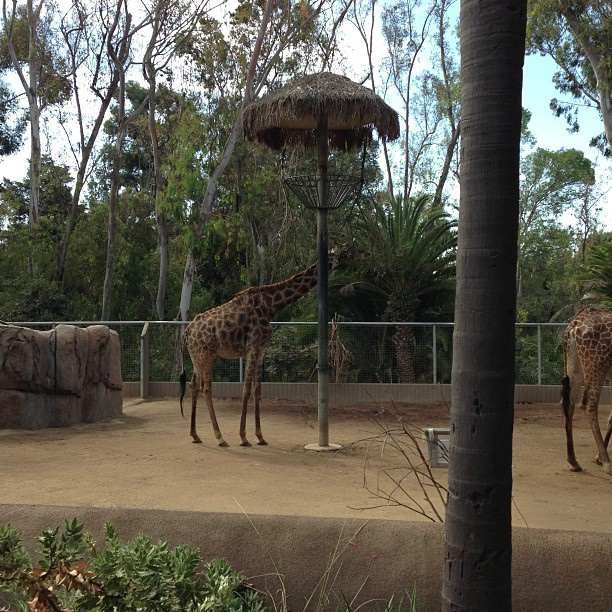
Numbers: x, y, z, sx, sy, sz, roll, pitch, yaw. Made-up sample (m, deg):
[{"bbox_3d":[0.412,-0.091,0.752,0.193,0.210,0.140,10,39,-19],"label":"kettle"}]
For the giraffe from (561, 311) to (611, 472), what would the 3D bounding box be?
[{"bbox_3d":[2.959,0.875,8.126,0.523,1.665,0.644,-1,-2,26],"label":"giraffe"}]

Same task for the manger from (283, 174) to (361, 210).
[{"bbox_3d":[0.193,-1.396,9.207,0.921,0.479,0.411,0,-2,-4],"label":"manger"}]
